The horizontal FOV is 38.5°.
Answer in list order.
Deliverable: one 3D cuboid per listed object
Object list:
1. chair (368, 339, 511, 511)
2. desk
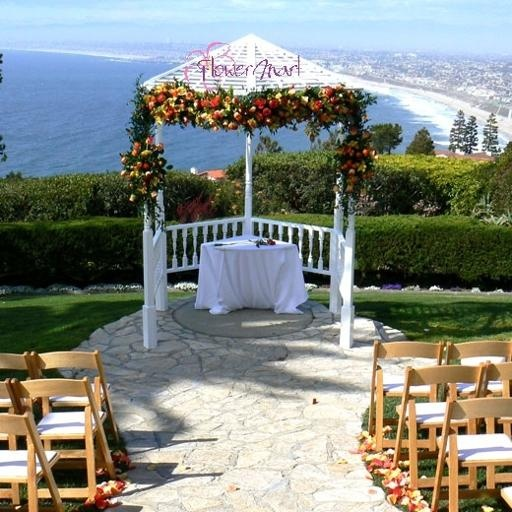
[{"bbox_3d":[1.392,0.990,5.196,0.721,1.211,0.872,0,10,-1],"label":"chair"},{"bbox_3d":[-0.125,0.238,8.969,1.270,0.696,1.327,0,8,-22],"label":"desk"}]
